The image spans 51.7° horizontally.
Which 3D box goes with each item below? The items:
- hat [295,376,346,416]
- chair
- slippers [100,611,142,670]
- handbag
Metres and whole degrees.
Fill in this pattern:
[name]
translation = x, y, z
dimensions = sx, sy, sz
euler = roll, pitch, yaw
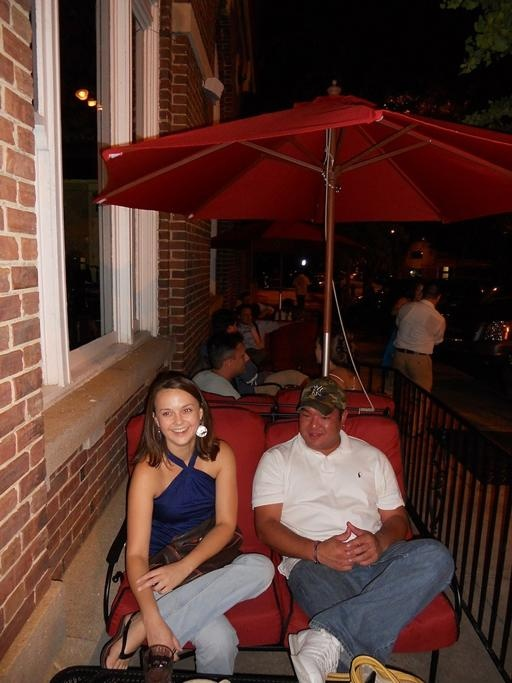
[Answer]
[hat]
translation = 0.326, 0.271, 2.692
dimensions = 0.161, 0.120, 0.224
euler = 2, -12, 26
[chair]
translation = -0.008, 0.928, 2.886
dimensions = 1.082, 1.572, 1.576
euler = -1, -6, -2
[slippers]
translation = -0.539, 1.205, 2.138
dimensions = 0.065, 0.097, 0.263
euler = -14, 4, -5
[handbag]
translation = -0.248, 0.968, 2.430
dimensions = 0.491, 0.162, 0.216
euler = -8, 19, -38
